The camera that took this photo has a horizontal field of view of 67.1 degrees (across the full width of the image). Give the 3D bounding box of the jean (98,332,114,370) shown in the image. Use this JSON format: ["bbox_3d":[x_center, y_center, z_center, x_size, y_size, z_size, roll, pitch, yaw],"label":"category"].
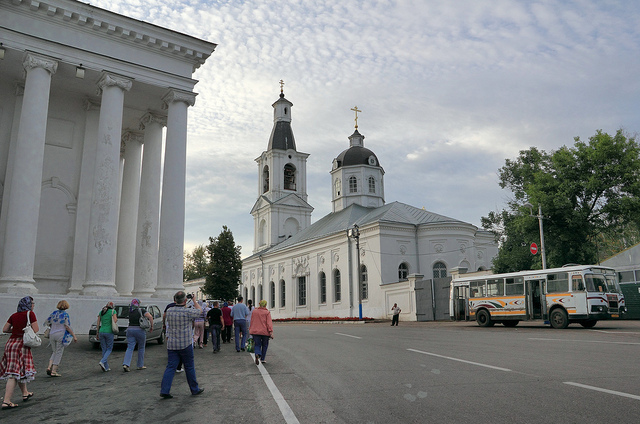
[{"bbox_3d":[-6.938,4.476,15.521,0.448,1.157,0.808,4,-13,-24],"label":"jean"}]

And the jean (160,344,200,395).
[{"bbox_3d":[-3.490,3.979,12.077,0.918,1.238,0.391,3,-12,-17],"label":"jean"}]

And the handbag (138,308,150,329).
[{"bbox_3d":[-5.750,3.485,15.681,0.412,0.662,0.211,0,-12,-6],"label":"handbag"}]

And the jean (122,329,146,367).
[{"bbox_3d":[-6.050,4.467,15.733,0.634,1.197,1.059,4,-13,-21],"label":"jean"}]

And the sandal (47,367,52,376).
[{"bbox_3d":[-8.073,4.813,14.379,0.201,0.179,0.062,-9,-14,31],"label":"sandal"}]

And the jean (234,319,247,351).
[{"bbox_3d":[-3.379,5.199,20.266,0.467,1.264,1.369,1,-12,-9],"label":"jean"}]

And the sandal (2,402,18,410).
[{"bbox_3d":[-7.388,4.645,11.525,0.351,0.136,0.123,1,2,-23],"label":"sandal"}]

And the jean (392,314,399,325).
[{"bbox_3d":[5.827,8.459,37.592,0.397,0.712,0.388,4,-13,-22],"label":"jean"}]

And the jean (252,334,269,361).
[{"bbox_3d":[-2.007,4.586,16.205,0.541,0.887,0.614,0,-12,-6],"label":"jean"}]

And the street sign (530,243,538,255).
[{"bbox_3d":[18.188,3.152,41.178,0.079,0.994,1.010,2,4,40],"label":"street sign"}]

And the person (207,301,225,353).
[{"bbox_3d":[-4.442,4.880,20.519,0.527,2.048,0.798,2,-12,-16],"label":"person"}]

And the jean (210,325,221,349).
[{"bbox_3d":[-4.449,5.320,20.429,0.425,0.972,0.384,-3,-12,10],"label":"jean"}]

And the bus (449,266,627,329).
[{"bbox_3d":[13.317,5.883,31.896,3.936,3.526,11.117,8,-15,-35],"label":"bus"}]

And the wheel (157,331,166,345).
[{"bbox_3d":[-7.263,5.784,22.044,0.323,0.574,0.586,3,-13,-21],"label":"wheel"}]

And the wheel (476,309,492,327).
[{"bbox_3d":[10.958,7.135,32.205,0.492,1.233,1.248,5,-6,-26],"label":"wheel"}]

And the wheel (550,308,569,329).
[{"bbox_3d":[13.935,6.231,28.094,0.488,1.243,1.221,3,-7,-27],"label":"wheel"}]

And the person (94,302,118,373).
[{"bbox_3d":[-6.891,4.023,15.563,0.534,2.157,0.720,7,-15,-36],"label":"person"}]

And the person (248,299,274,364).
[{"bbox_3d":[-2.040,4.113,16.500,0.772,2.105,1.602,0,-12,-6],"label":"person"}]

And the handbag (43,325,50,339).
[{"bbox_3d":[-8.031,3.532,14.208,0.125,0.347,0.654,5,-14,-27],"label":"handbag"}]

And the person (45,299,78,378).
[{"bbox_3d":[-7.773,3.806,14.387,0.825,2.231,1.252,6,-14,-29],"label":"person"}]
